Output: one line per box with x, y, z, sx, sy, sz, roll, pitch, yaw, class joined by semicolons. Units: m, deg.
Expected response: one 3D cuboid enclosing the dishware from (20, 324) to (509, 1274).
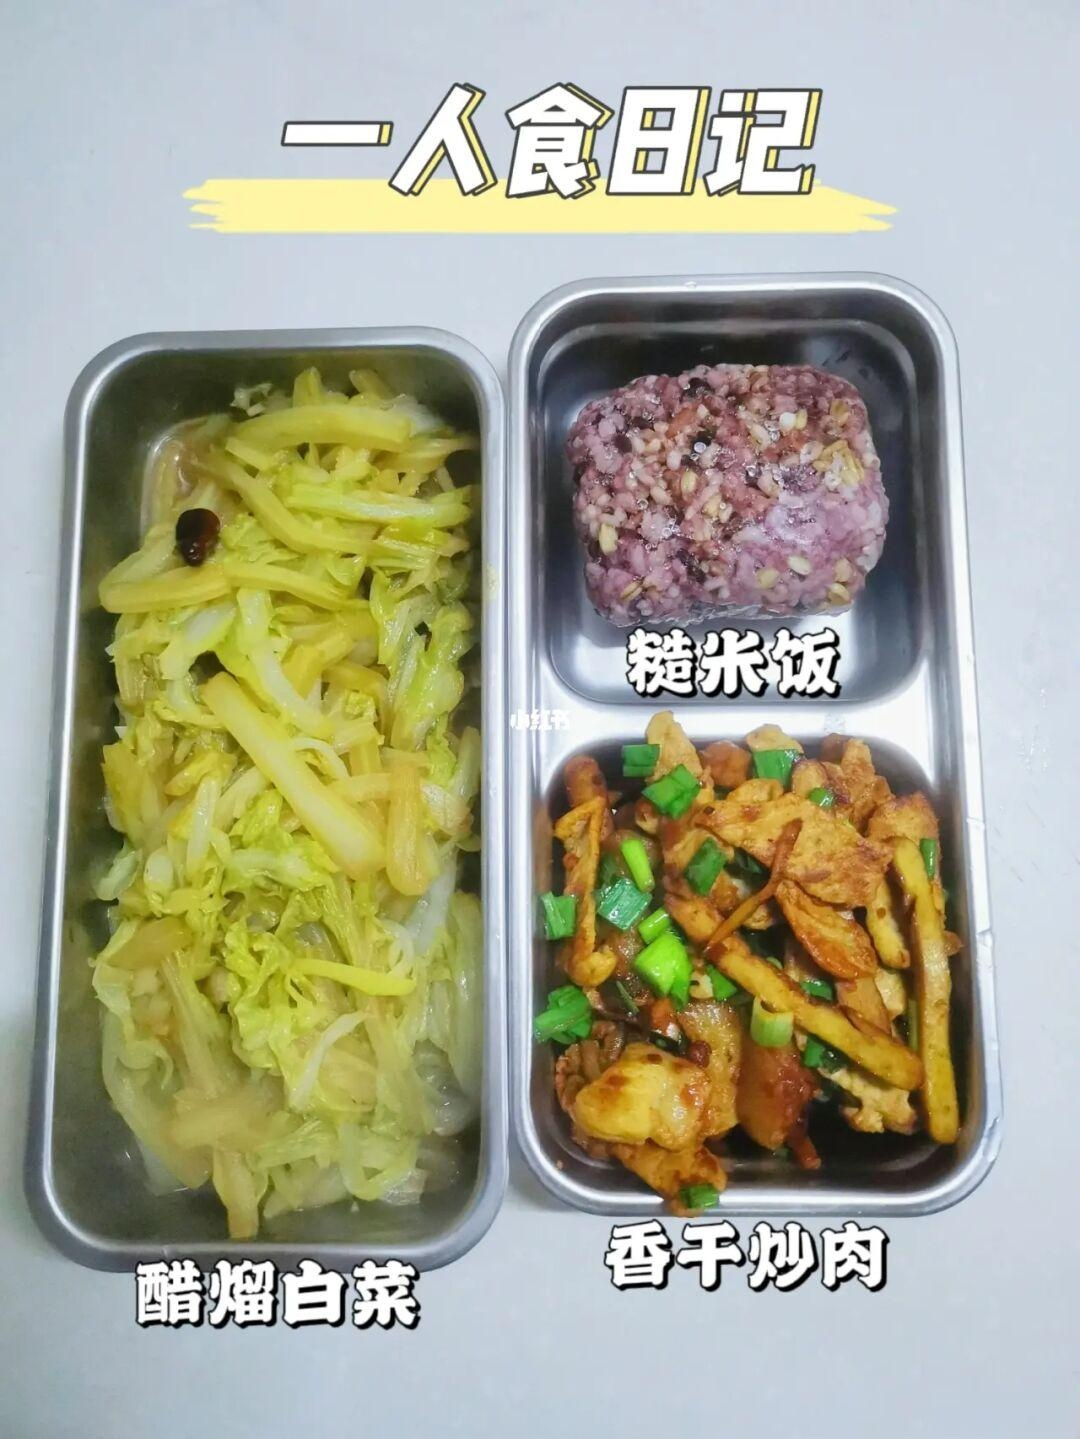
-0.337;0.097;1.773;0.608;0.301;1.211;1;75;2;dishware

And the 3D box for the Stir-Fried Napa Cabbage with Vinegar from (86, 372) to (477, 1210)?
-0.331;0.110;1.660;0.586;0.263;1.070;-1;89;-3;Stir-Fried Napa Cabbage with Vinegar

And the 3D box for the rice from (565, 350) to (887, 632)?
0.256;-0.316;1.844;0.413;0.139;0.334;-5;76;0;rice

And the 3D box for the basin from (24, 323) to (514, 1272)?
-0.457;0.078;1.894;0.677;0.262;1.182;-1;90;-3;basin
